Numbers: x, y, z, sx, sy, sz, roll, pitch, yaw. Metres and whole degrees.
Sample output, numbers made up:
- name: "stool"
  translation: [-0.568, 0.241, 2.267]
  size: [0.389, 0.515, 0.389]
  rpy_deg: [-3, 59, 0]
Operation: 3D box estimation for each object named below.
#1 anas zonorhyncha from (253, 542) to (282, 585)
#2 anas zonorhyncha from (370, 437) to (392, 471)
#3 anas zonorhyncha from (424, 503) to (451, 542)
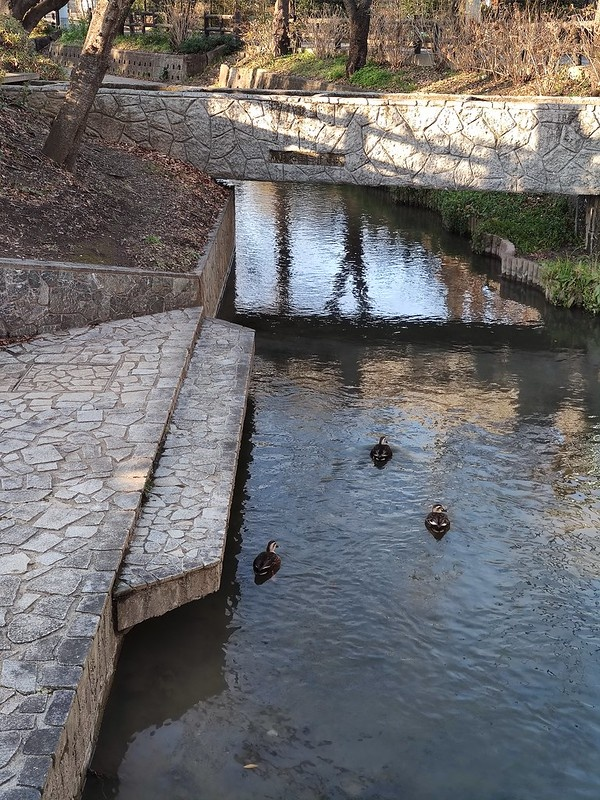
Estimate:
- name: "anas zonorhyncha"
  translation: [-0.268, 1.417, 6.401]
  size: [0.182, 0.232, 0.382]
  rpy_deg: [11, 36, 17]
- name: "anas zonorhyncha"
  translation: [0.931, 0.633, 8.485]
  size: [0.241, 0.245, 0.360]
  rpy_deg: [4, 36, 15]
- name: "anas zonorhyncha"
  translation: [1.345, 1.181, 7.061]
  size: [0.155, 0.092, 0.387]
  rpy_deg: [-5, 30, 14]
